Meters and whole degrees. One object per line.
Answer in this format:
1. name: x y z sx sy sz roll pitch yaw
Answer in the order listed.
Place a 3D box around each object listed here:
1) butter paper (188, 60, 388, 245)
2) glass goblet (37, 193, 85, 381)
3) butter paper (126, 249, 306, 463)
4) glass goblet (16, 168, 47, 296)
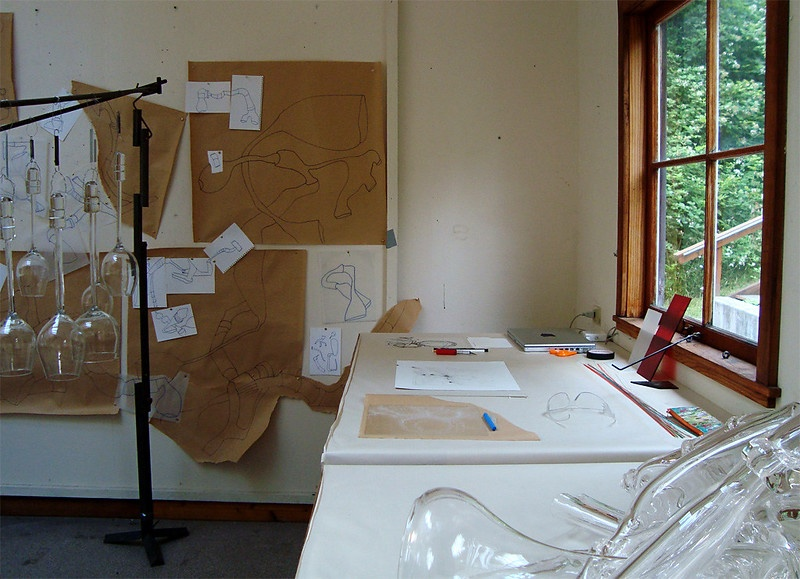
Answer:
1. butter paper: -0.539 -0.664 3.211 1.015 0.873 0.090 -5 12 -24
2. glass goblet: -0.764 -0.002 1.444 0.090 0.410 0.225 -5 12 -29
3. butter paper: -0.904 0.285 3.181 1.114 1.271 0.059 0 -2 -1
4. glass goblet: -0.822 -0.134 1.446 0.069 0.275 0.067 -1 -3 -23
